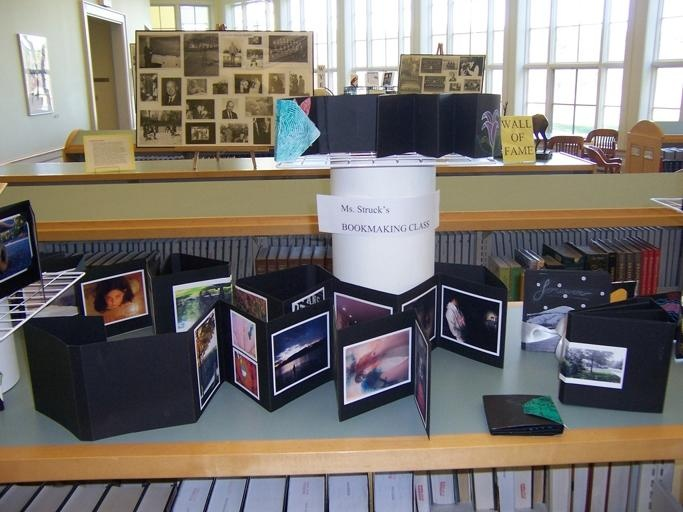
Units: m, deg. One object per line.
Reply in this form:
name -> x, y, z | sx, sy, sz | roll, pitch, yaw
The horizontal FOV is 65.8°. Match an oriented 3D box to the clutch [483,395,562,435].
clutch -> 0.477, 0.433, 1.424 | 0.112, 0.034, 0.115 | -2, 16, 6
